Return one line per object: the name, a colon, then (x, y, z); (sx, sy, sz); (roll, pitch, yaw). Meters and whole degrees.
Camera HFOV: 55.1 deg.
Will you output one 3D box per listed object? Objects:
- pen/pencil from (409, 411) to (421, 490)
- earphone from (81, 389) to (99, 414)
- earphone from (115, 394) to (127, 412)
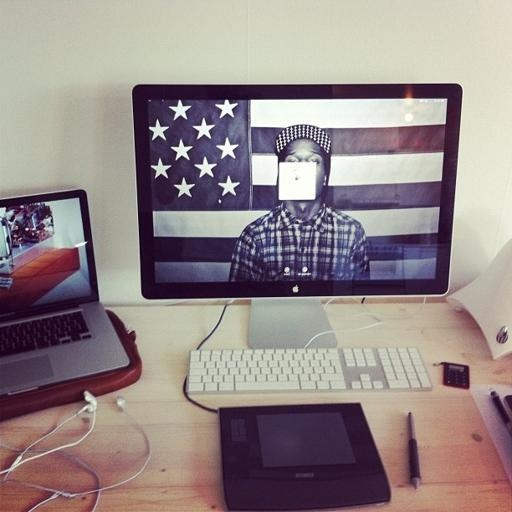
pen/pencil: (0.246, 0.297, 0.758); (0.017, 0.014, 0.172); (3, 23, 14)
earphone: (-0.280, 0.248, 0.823); (0.031, 0.036, 0.029); (-7, 10, -21)
earphone: (-0.228, 0.249, 0.823); (0.014, 0.024, 0.025); (0, -17, -5)
